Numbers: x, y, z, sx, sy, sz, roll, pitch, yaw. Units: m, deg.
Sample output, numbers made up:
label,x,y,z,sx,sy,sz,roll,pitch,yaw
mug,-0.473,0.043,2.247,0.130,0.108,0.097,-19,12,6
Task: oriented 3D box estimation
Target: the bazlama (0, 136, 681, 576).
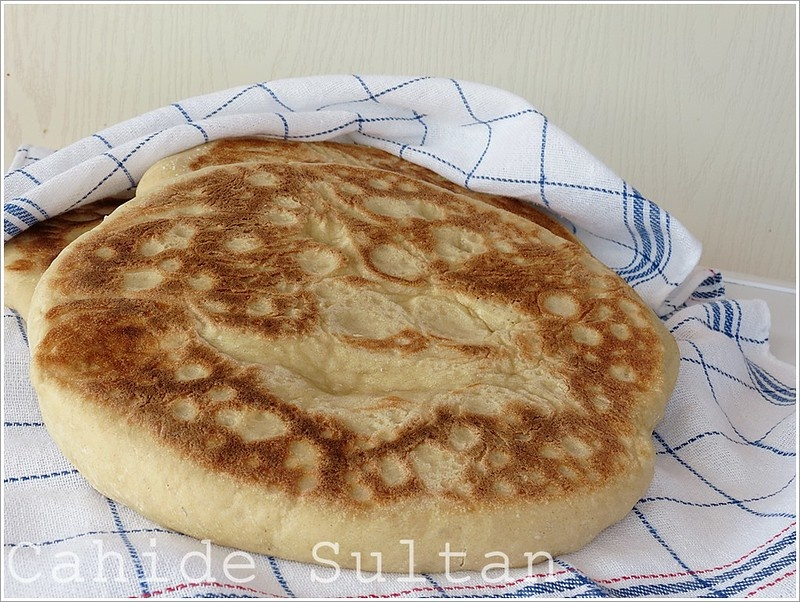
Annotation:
label,x,y,z,sx,sy,sz,roll,pitch,yaw
bazlama,-0.100,0.120,1.084,0.804,0.143,0.579,11,27,-1
